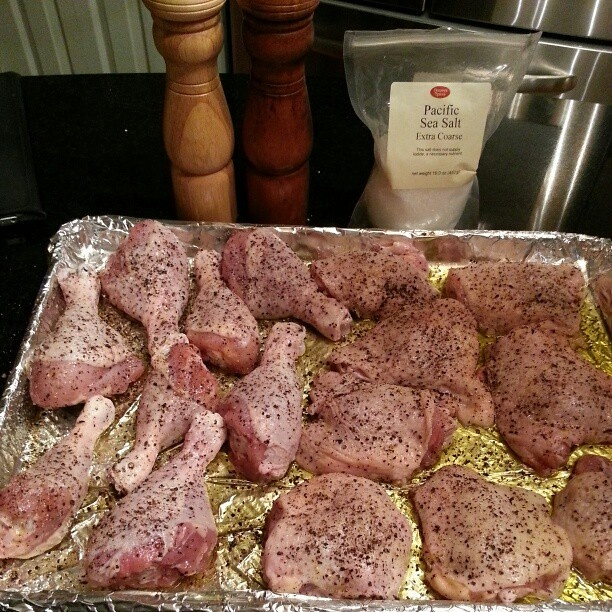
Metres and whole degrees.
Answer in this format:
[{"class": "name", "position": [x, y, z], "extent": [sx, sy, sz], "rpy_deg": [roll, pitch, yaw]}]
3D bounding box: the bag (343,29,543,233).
[{"class": "bag", "position": [0.342, -0.474, 1.685], "extent": [0.435, 0.696, 0.205], "rpy_deg": [1, 57, 7]}]

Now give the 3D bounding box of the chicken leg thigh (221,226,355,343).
[{"class": "chicken leg thigh", "position": [-0.054, -0.040, 1.587], "extent": [0.376, 0.078, 0.221], "rpy_deg": [41, 78, 10]}]

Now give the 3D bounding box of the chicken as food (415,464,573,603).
[{"class": "chicken as food", "position": [0.378, 0.455, 1.249], "extent": [0.289, 0.087, 0.299], "rpy_deg": [-5, 50, -6]}]

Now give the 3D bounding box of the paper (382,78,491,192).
[{"class": "paper", "position": [0.334, -0.465, 1.576], "extent": [0.231, 0.321, 0.039], "rpy_deg": [-4, 33, -6]}]

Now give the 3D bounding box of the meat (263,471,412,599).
[{"class": "meat", "position": [0.062, 0.464, 1.218], "extent": [0.301, 0.062, 0.275], "rpy_deg": [12, 51, 8]}]

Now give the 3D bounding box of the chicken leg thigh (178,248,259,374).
[{"class": "chicken leg thigh", "position": [-0.246, -0.006, 1.587], "extent": [0.160, 0.128, 0.389], "rpy_deg": [6, 46, -28]}]

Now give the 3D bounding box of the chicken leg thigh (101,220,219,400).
[{"class": "chicken leg thigh", "position": [-0.380, -0.003, 1.519], "extent": [0.204, 0.145, 0.607], "rpy_deg": [-15, 69, -1]}]

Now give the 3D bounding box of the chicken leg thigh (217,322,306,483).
[{"class": "chicken leg thigh", "position": [-0.086, 0.214, 1.401], "extent": [0.156, 0.135, 0.413], "rpy_deg": [8, 52, 7]}]
